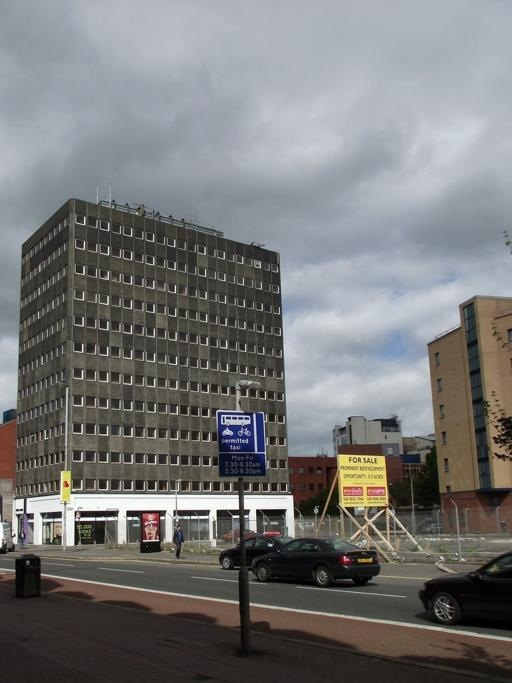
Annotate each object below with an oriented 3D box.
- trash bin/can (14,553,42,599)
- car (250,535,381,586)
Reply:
[{"bbox_3d":[-5.369,5.523,15.206,0.656,0.974,0.550,5,-14,-41],"label":"trash bin/can"},{"bbox_3d":[1.584,6.308,18.474,3.614,1.299,1.045,-15,-15,42],"label":"car"}]
